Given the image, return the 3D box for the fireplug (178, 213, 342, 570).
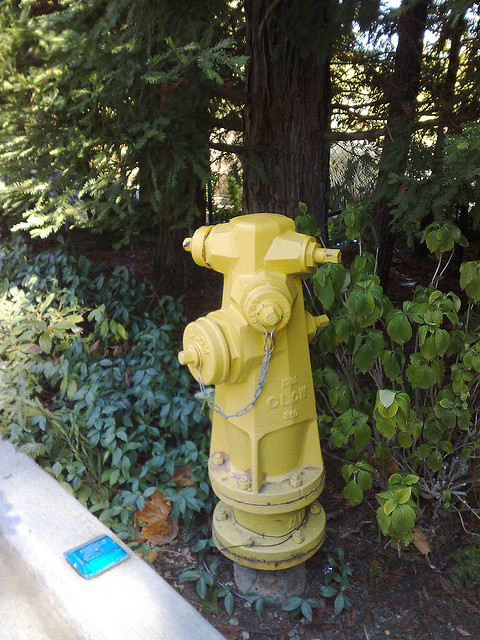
[{"bbox_3d":[0.100,0.347,2.557,0.673,1.605,0.468,-1,16,1],"label":"fireplug"}]
